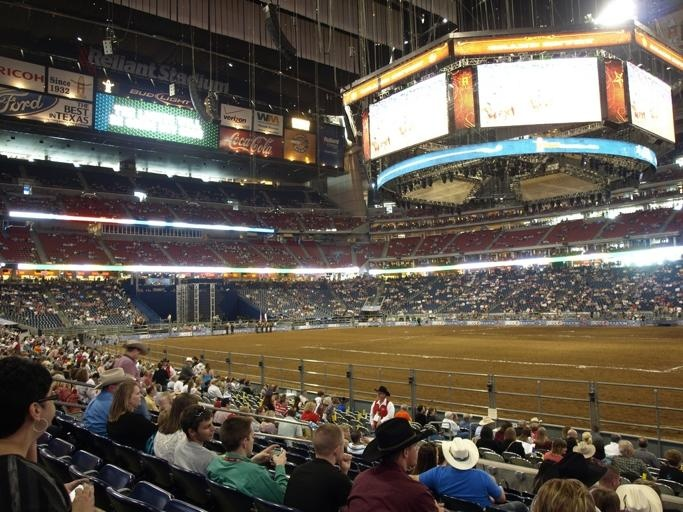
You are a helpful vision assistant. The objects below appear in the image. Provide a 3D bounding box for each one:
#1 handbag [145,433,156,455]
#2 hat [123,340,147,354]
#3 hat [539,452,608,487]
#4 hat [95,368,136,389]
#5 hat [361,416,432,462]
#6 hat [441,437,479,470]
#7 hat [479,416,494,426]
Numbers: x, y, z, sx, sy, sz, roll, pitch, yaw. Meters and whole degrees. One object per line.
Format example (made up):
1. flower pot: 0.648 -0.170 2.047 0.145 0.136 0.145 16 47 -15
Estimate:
1. handbag: -4.907 4.847 15.490 0.096 0.432 0.456 20 -28 -15
2. hat: -6.261 2.784 18.317 0.560 0.375 0.720 2 -10 -22
3. hat: 5.392 4.791 13.623 1.097 0.389 0.906 1 -10 -44
4. hat: -6.041 3.259 16.117 0.886 0.503 0.787 2 -10 -22
5. hat: 1.130 4.069 13.440 1.226 0.450 1.021 -22 -2 -17
6. hat: 2.887 4.795 14.645 0.814 0.764 0.262 -3 -10 5
7. hat: 4.811 5.349 19.607 0.521 0.196 0.462 -6 3 -36
